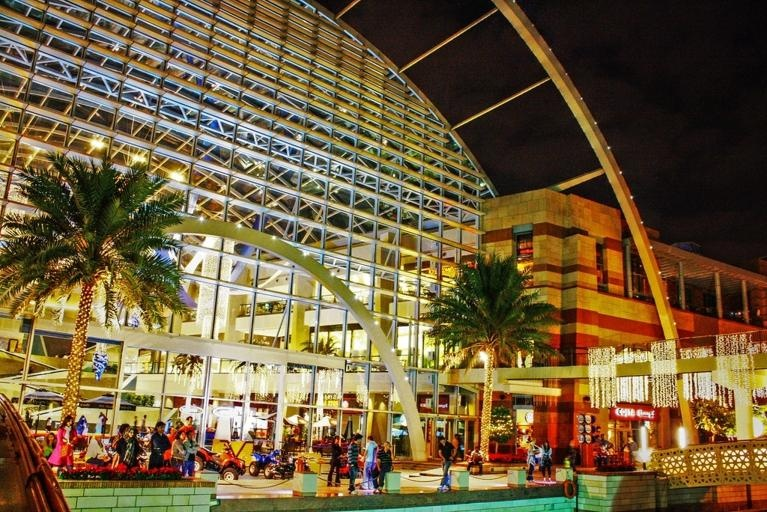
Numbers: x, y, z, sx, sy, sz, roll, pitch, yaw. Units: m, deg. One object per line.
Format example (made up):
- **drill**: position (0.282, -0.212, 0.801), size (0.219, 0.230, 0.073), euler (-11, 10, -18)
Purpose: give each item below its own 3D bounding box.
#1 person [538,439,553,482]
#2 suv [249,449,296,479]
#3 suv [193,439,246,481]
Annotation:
- **person**: position (8.043, 10.085, 30.327), size (0.459, 1.821, 1.594), euler (-3, -19, 13)
- **suv**: position (-4.835, 9.171, 26.956), size (1.994, 0.835, 1.252), euler (0, -6, 45)
- **suv**: position (-6.904, 8.245, 25.231), size (2.301, 1.116, 1.092), euler (17, -5, -7)
